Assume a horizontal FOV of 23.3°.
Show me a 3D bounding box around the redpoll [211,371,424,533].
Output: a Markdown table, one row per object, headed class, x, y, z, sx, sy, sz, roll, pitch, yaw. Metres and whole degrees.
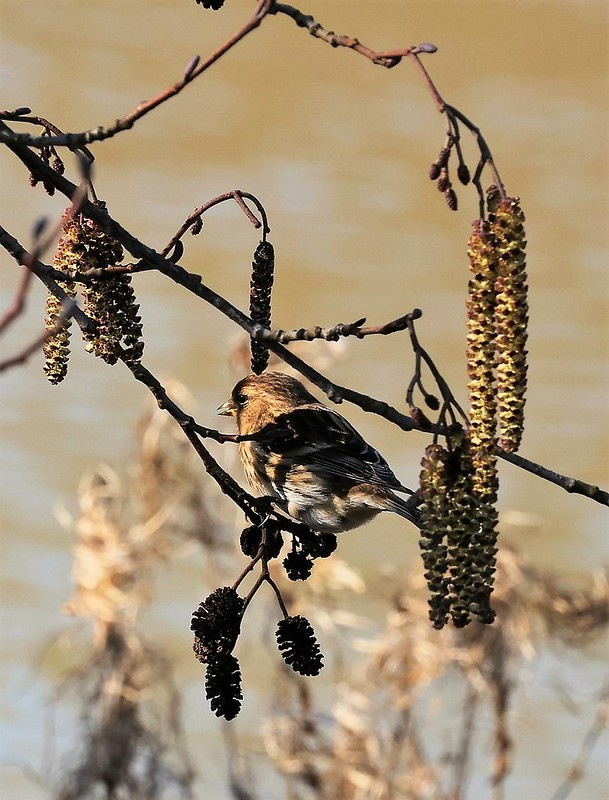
| class | x | y | z | sx | sy | sz | roll | pitch | yaw |
| --- | --- | --- | --- | --- | --- | --- | --- | --- | --- |
| redpoll | 0.122 | 0.164 | 4.526 | 1.041 | 0.383 | 0.349 | 10 | 3 | 44 |
